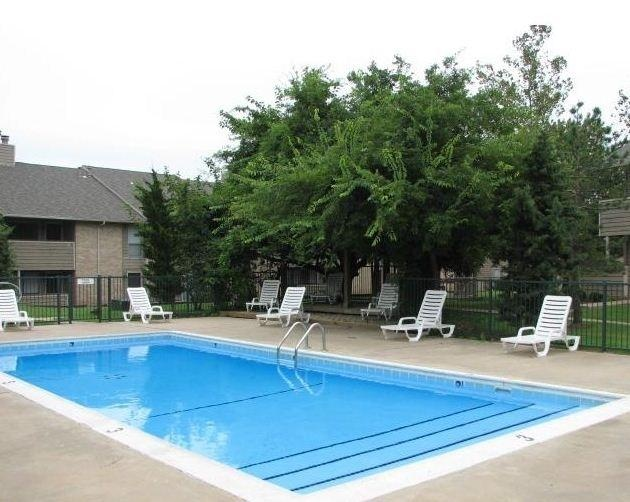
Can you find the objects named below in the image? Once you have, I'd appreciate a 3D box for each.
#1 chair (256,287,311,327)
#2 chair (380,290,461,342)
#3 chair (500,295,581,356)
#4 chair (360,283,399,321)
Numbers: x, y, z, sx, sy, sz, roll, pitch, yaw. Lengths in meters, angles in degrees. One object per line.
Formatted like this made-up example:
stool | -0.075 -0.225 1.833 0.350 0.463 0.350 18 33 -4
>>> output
chair | -1.039 1.883 19.087 1.168 1.444 1.854 -1 -3 35
chair | 2.770 1.727 15.237 2.136 1.375 1.116 3 -3 -39
chair | 4.965 1.610 12.611 2.068 1.563 1.139 3 -2 -41
chair | 2.423 1.746 19.807 0.958 1.275 1.748 -5 -3 29
